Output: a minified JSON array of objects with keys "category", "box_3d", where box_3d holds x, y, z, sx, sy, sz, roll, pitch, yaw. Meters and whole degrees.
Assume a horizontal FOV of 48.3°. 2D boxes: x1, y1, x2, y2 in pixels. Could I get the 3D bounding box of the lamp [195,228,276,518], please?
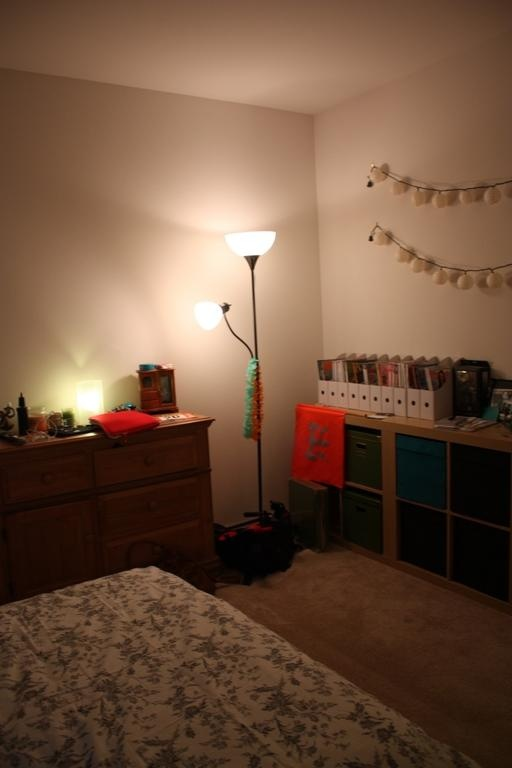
[{"category":"lamp","box_3d":[-0.111,-0.027,3.200,0.448,1.625,0.601,-1,2,1]}]
